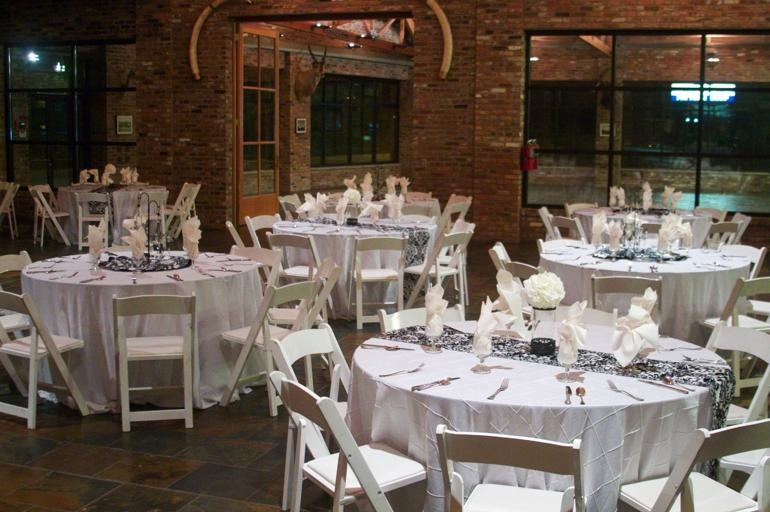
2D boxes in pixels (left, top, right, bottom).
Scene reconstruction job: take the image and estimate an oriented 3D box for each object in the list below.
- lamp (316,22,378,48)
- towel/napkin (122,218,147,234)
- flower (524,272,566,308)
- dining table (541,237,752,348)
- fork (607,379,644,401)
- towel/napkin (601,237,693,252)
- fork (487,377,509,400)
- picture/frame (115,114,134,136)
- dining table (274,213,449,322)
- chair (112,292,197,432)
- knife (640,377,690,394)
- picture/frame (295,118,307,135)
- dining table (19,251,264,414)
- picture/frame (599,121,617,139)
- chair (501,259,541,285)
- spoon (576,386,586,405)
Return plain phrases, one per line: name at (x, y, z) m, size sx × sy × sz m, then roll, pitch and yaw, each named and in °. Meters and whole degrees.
lamp at (-1.008, -6.028, 17.010) m, size 0.394 × 0.360 × 1.697 m, roll -17°, pitch -5°, yaw 37°
towel/napkin at (-2.082, -0.264, 5.222) m, size 0.192 × 0.082 × 0.189 m, roll -7°, pitch 8°, yaw 7°
flower at (0.853, 0.167, 3.400) m, size 0.208 × 0.169 × 0.200 m, roll -20°, pitch 30°, yaw -30°
dining table at (2.288, 0.199, 5.430) m, size 1.286 × 0.622 × 1.216 m, roll -4°, pitch 11°, yaw -12°
fork at (1.153, 0.645, 3.032) m, size 0.045 × 0.041 × 0.240 m, roll -12°, pitch 12°, yaw -18°
towel/napkin at (2.747, -0.098, 6.136) m, size 0.431 × 0.095 × 0.410 m, roll -1°, pitch 7°, yaw 5°
fork at (0.565, 0.644, 3.085) m, size 0.045 × 0.042 × 0.259 m, roll 2°, pitch 13°, yaw 26°
picture/frame at (-5.741, -2.914, 13.803) m, size 0.497 × 0.511 × 0.068 m, roll 1°, pitch 6°, yaw 0°
dining table at (-0.373, 0.029, 7.169) m, size 1.393 × 0.741 × 1.353 m, roll 1°, pitch 5°, yaw 20°
chair at (-1.638, 0.695, 4.483) m, size 0.593 × 0.968 × 0.615 m, roll -4°, pitch 15°, yaw -18°
knife at (1.384, 0.643, 3.091) m, size 0.175 × 0.014 × 0.028 m, roll 8°, pitch 21°, yaw 32°
picture/frame at (-2.482, -3.803, 18.291) m, size 0.172 × 0.485 × 0.529 m, roll 3°, pitch 9°, yaw 29°
dining table at (-1.679, 0.447, 4.852) m, size 1.368 × 0.667 × 1.333 m, roll 8°, pitch 17°, yaw 23°
picture/frame at (4.173, -2.366, 11.655) m, size 0.350 × 0.318 × 0.024 m, roll 3°, pitch 9°, yaw 12°
chair at (1.070, 0.123, 4.913) m, size 0.194 × 0.289 × 0.224 m, roll 14°, pitch 41°, yaw 28°
spoon at (0.917, 0.644, 2.914) m, size 0.039 × 0.019 × 0.112 m, roll 1°, pitch 14°, yaw 8°
